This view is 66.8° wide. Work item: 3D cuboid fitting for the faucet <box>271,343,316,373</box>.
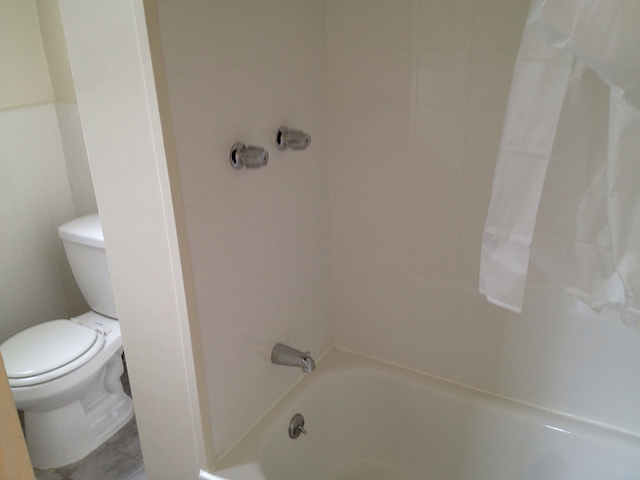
[{"bbox_3d":[-0.087,0.365,1.590,0.127,0.062,0.075,11,16,27],"label":"faucet"}]
